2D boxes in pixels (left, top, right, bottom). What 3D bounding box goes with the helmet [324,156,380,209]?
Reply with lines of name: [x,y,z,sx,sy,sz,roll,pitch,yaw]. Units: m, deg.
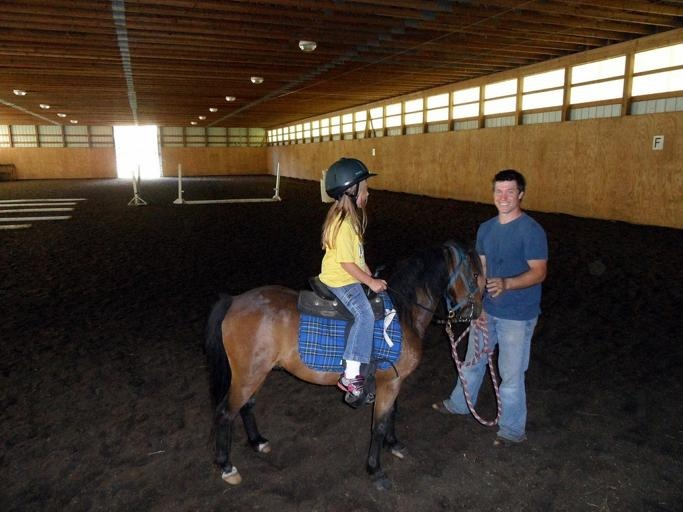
helmet: [0.054,-0.529,2.988,0.352,0.223,0.254,-23,16,5]

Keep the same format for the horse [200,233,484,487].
horse: [0.046,0.788,3.284,2.093,1.671,0.617,0,6,-4]

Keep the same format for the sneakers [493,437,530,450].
sneakers: [1.319,1.466,3.384,0.144,0.050,0.106,-5,-4,-4]

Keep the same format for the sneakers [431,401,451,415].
sneakers: [0.876,1.339,3.803,0.189,0.080,0.066,-3,40,-48]
